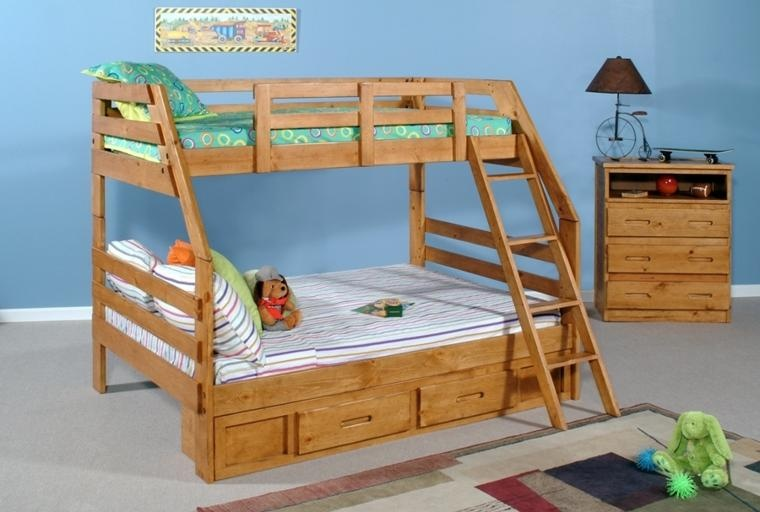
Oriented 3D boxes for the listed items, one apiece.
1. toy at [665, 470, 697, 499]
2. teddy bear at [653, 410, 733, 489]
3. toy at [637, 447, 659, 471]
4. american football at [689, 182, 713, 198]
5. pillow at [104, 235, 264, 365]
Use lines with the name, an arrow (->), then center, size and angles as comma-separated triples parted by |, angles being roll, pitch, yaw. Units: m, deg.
toy -> 1.689, 1.288, 4.001 | 0.172, 0.092, 0.123 | 0, 15, 10
teddy bear -> 1.820, 1.102, 4.115 | 0.311, 0.347, 0.465 | -1, -6, -26
toy -> 1.558, 1.201, 4.230 | 0.131, 0.074, 0.127 | -12, 21, -34
american football -> 2.904, -0.599, 6.511 | 0.151, 0.078, 0.194 | 6, 6, 25
pillow -> -1.141, 0.272, 4.509 | 0.532, 0.563, 1.189 | -16, 19, -39
